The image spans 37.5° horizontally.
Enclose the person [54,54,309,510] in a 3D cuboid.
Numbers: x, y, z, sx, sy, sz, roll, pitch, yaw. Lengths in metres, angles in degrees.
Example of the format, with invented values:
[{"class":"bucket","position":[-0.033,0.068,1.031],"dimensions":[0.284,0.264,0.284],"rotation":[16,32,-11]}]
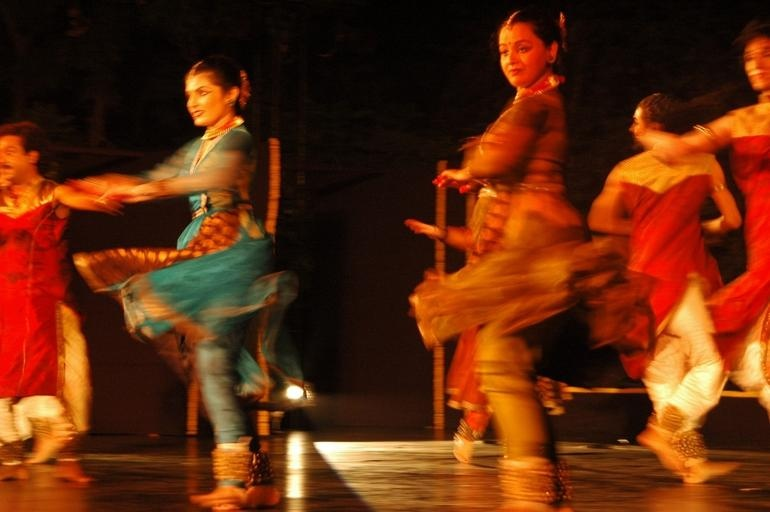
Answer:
[{"class":"person","position":[-0.949,0.128,5.418],"dimensions":[1.035,2.190,0.541],"rotation":[-3,-15,-3]}]

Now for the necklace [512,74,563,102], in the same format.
[{"class":"necklace","position":[0.686,-0.735,4.949],"dimensions":[0.246,0.064,0.136],"rotation":[-16,5,11]}]
